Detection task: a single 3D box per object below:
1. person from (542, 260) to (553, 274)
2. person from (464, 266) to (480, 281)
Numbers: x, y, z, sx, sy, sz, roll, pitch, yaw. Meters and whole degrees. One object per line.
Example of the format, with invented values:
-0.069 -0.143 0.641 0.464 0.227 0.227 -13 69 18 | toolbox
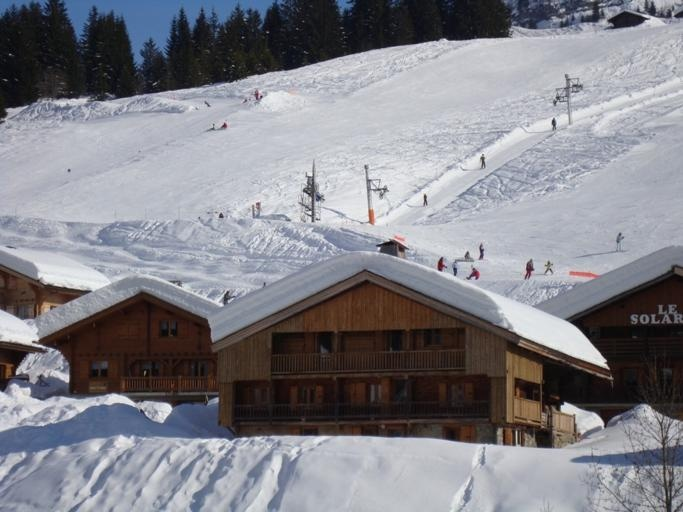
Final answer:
18.979 0.707 150.408 0.793 1.630 1.141 0 8 5 | person
12.111 1.261 149.822 1.246 1.836 0.835 6 -1 5 | person
